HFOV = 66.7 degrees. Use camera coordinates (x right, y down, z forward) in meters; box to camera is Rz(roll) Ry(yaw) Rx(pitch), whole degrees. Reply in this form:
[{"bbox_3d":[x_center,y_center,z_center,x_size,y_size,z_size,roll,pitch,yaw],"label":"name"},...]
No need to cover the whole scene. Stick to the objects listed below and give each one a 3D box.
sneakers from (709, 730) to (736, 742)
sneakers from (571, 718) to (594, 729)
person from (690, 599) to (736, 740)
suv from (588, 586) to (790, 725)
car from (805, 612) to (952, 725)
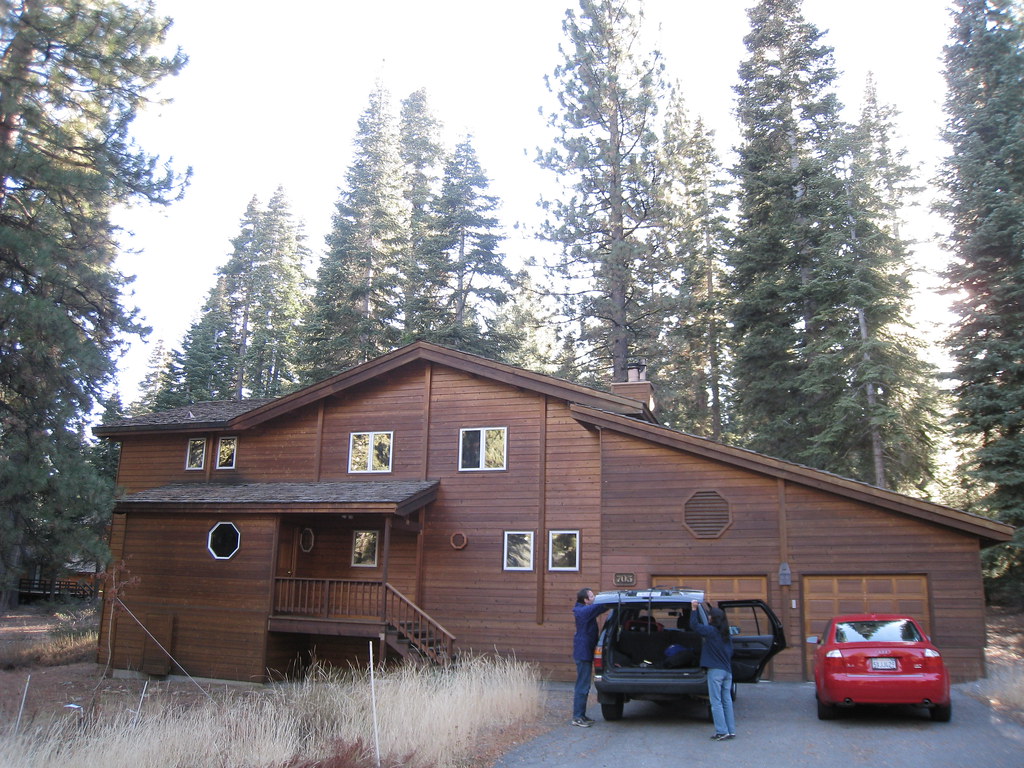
[{"bbox_3d":[3.663,6.083,13.521,0.448,0.165,0.155,-1,-13,16],"label":"sneakers"},{"bbox_3d":[1.368,6.455,14.883,0.393,0.140,0.135,-1,-12,12],"label":"sneakers"},{"bbox_3d":[3.643,5.061,13.945,0.614,2.293,1.088,-3,-16,12],"label":"person"},{"bbox_3d":[3.621,5.303,15.946,3.093,1.841,4.250,-4,-10,23],"label":"suv"},{"bbox_3d":[6.457,4.880,13.707,1.427,0.933,2.923,-2,-10,15],"label":"car"}]
